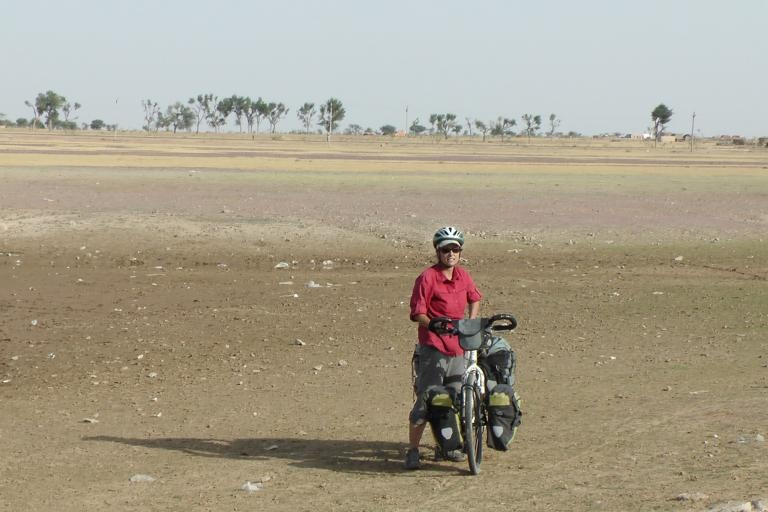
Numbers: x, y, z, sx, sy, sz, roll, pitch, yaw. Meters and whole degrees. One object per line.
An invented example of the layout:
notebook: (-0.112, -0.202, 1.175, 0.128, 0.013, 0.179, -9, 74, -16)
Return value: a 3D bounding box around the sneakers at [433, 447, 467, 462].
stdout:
sneakers: (1.065, 3.416, 24.340, 0.713, 0.183, 0.249, 3, 2, -14)
